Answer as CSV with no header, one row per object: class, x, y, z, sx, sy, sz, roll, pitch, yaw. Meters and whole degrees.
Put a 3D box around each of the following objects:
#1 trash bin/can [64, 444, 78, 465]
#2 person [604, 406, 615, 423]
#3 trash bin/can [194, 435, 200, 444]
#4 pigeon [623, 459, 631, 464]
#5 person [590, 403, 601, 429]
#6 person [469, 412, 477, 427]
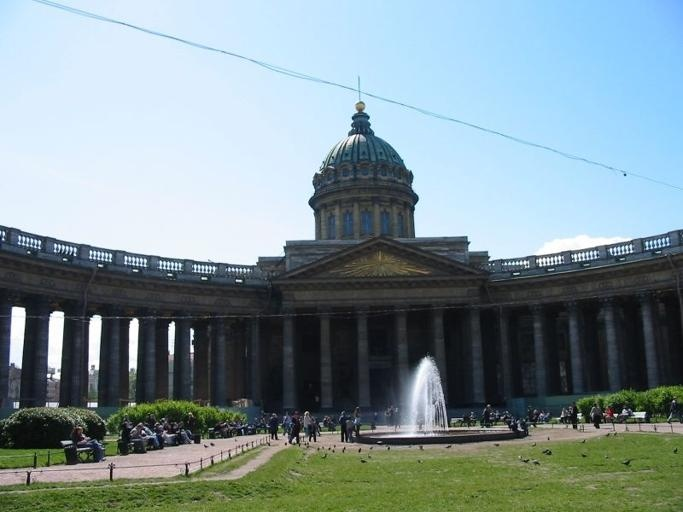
trash bin/can,-12.185,8.908,37.825,0.662,1.019,0.825,-2,-5,10
person,17.824,10.529,56.177,0.758,1.010,0.966,1,-15,-1
trash bin/can,-8.432,10.795,49.659,0.458,0.635,0.461,-1,-16,-5
pigeon,12.557,9.034,36.936,0.439,0.178,0.143,5,-11,-35
person,15.913,10.053,52.683,0.461,1.453,2.464,-5,-15,15
person,10.120,12.669,65.430,0.928,1.098,0.878,-3,-14,18
